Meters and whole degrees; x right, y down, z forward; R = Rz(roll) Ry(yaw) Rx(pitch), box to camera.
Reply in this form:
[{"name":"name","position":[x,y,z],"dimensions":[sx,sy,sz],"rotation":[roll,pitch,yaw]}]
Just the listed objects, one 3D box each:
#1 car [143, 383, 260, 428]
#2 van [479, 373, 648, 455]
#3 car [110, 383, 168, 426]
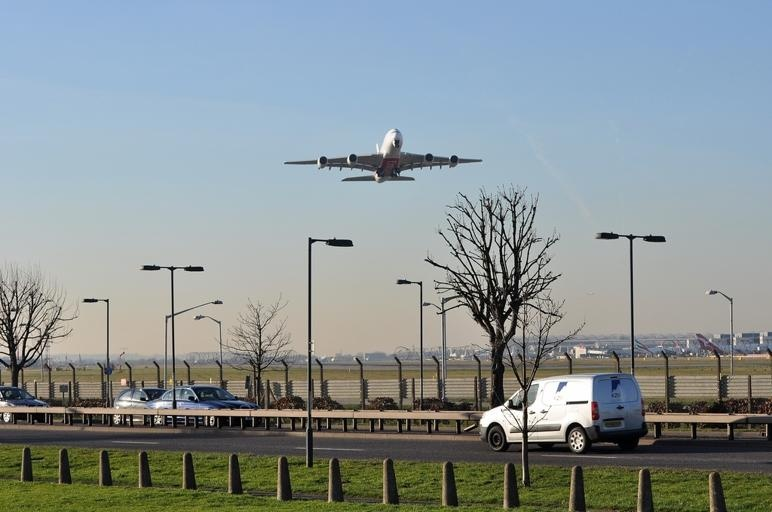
[{"name":"car","position":[-9.894,7.724,85.073],"dimensions":[5.894,1.647,2.449],"rotation":[-4,-6,27]},{"name":"van","position":[7.600,6.643,69.696],"dimensions":[6.096,3.329,1.970],"rotation":[-2,-3,19]},{"name":"car","position":[-12.731,7.945,88.131],"dimensions":[2.665,1.970,4.753],"rotation":[1,1,10]}]
